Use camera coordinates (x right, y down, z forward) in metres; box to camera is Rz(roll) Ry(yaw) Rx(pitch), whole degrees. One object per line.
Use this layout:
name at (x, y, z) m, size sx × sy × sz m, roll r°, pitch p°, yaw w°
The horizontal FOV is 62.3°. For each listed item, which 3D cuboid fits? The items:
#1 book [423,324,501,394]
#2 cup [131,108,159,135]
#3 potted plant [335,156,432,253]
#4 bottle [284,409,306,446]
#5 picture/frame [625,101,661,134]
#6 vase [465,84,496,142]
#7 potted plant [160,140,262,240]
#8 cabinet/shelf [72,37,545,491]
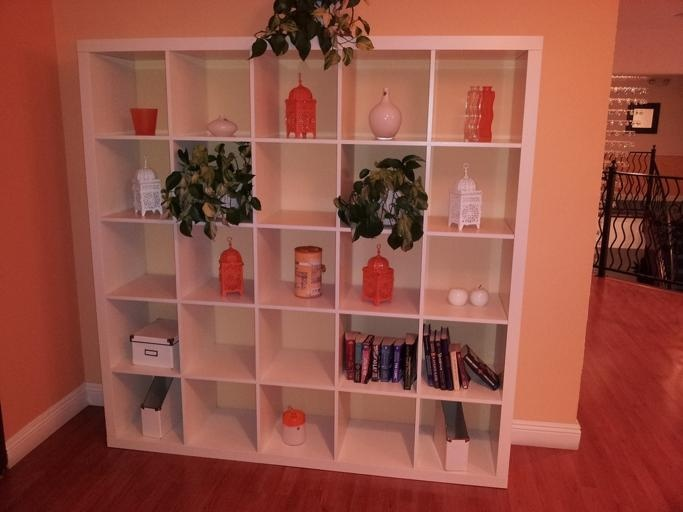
book at (0.704, 0.593, 3.599) m, size 0.377 × 0.433 × 0.148 m, roll -5°, pitch 3°, yaw 14°
cup at (-1.185, -0.811, 3.419) m, size 0.160 × 0.148 × 0.155 m, roll 1°, pitch 12°, yaw 0°
potted plant at (0.248, -0.347, 3.327) m, size 0.520 × 0.506 × 0.504 m, roll 4°, pitch 15°, yaw 10°
bottle at (-0.308, 1.089, 3.716) m, size 0.149 × 0.243 × 0.158 m, roll 0°, pitch 12°, yaw 0°
picture/frame at (6.356, -2.908, 11.894) m, size 0.726 × 0.634 × 0.118 m, roll -2°, pitch 14°, yaw -12°
vase at (0.814, -0.844, 3.333) m, size 0.199 × 0.319 × 0.206 m, roll 10°, pitch 20°, yaw 30°
potted plant at (-0.774, -0.382, 3.393) m, size 0.592 × 0.596 × 0.381 m, roll 0°, pitch 14°, yaw -4°
cabinet/shelf at (-0.151, 0.005, 3.523) m, size 2.446 × 2.514 × 0.617 m, roll 2°, pitch 15°, yaw 8°
